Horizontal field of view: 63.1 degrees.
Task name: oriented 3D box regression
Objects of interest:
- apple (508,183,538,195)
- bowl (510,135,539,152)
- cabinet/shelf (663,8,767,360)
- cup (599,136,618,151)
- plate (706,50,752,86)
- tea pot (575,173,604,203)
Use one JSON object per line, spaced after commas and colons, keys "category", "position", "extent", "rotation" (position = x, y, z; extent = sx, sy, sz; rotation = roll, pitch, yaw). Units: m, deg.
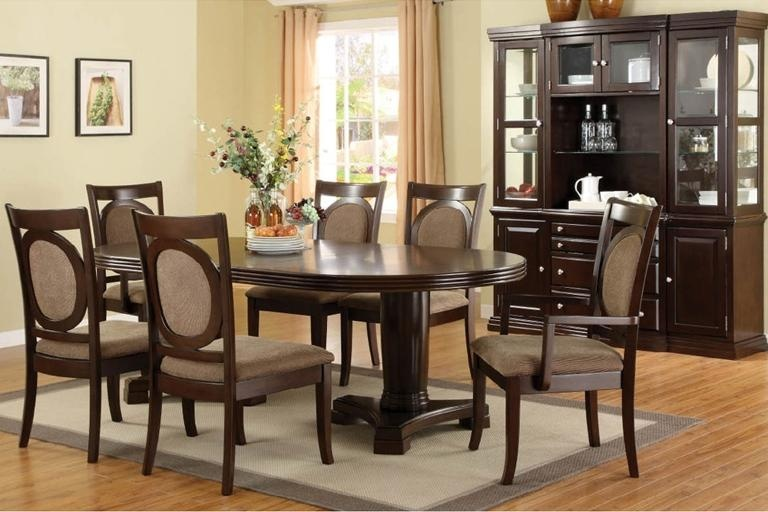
{"category": "apple", "position": [1.207, -0.576, 5.427], "extent": [0.164, 0.063, 0.108], "rotation": [0, 6, 26]}
{"category": "bowl", "position": [1.218, -0.972, 5.407], "extent": [0.220, 0.154, 0.039], "rotation": [5, 10, 33]}
{"category": "cabinet/shelf", "position": [2.598, -0.535, 4.747], "extent": [0.824, 2.570, 0.456], "rotation": [-1, 8, -2]}
{"category": "cup", "position": [1.895, -0.933, 5.277], "extent": [0.134, 0.189, 0.137], "rotation": [-1, 4, 0]}
{"category": "plate", "position": [2.667, -1.403, 4.784], "extent": [0.308, 0.290, 0.070], "rotation": [-4, -3, -6]}
{"category": "tea pot", "position": [1.707, -0.568, 5.384], "extent": [0.325, 0.285, 0.206], "rotation": [-1, 5, 5]}
